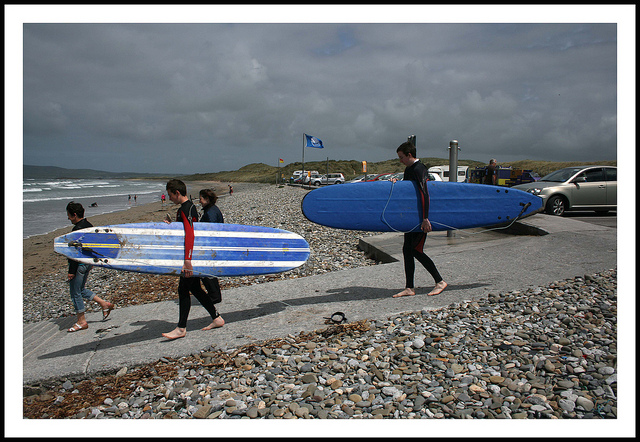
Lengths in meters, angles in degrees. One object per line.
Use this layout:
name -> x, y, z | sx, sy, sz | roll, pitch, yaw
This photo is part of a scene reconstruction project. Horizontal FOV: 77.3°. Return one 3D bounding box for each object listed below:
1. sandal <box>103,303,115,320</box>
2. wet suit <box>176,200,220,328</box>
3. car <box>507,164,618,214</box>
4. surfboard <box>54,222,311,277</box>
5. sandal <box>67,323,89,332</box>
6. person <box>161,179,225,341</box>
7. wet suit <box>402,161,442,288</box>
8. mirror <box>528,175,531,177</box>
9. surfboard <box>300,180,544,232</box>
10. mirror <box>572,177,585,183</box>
sandal -> -3.303, 1.420, 6.274 | 0.087, 0.240, 0.096 | 19, 5, -9
wet suit -> -1.745, 0.585, 5.277 | 0.532, 1.684, 0.604 | -11, 13, -16
car -> 7.802, -0.941, 12.627 | 4.625, 1.478, 2.093 | 1, -1, 3
surfboard -> -1.906, 0.400, 5.552 | 3.458, 0.735, 0.347 | 0, -17, 1
sandal -> -3.582, 1.606, 5.942 | 0.244, 0.071, 0.087 | 5, -6, -27
person -> -1.838, 0.500, 5.213 | 0.761, 2.041, 0.557 | -12, 14, -20
wet suit -> 1.459, 0.069, 5.856 | 0.520, 1.838, 0.576 | -4, 13, 15
mirror -> 11.252, -2.362, 21.590 | 0.086, 0.090, 0.213 | -4, 10, 6
surfboard -> 1.400, -0.217, 6.260 | 3.506, 0.773, 0.183 | 0, -2, 16
mirror -> 7.783, -1.204, 12.078 | 0.399, 0.134, 0.104 | -7, 12, -16
